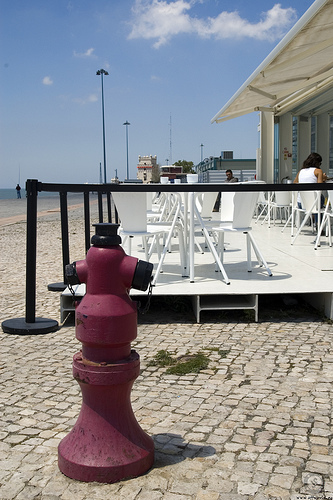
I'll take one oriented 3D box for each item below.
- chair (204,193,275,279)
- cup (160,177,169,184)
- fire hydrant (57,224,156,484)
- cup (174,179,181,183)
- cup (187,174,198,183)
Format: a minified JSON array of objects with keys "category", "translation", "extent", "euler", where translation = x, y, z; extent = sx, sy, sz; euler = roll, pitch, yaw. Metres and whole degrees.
[{"category":"chair","translation":[0.811,-0.201,5.486],"extent":[0.735,0.933,1.046],"euler":[-1,5,-6]},{"category":"cup","translation":[-0.062,-1.434,9.618],"extent":[0.132,0.095,0.132],"euler":[0,6,0]},{"category":"fire hydrant","translation":[-0.252,0.390,1.862],"extent":[0.400,0.982,0.307],"euler":[-2,5,-11]},{"category":"cup","translation":[0.218,-1.405,9.483],"extent":[0.115,0.072,0.114],"euler":[-1,6,0]},{"category":"cup","translation":[0.333,-0.950,6.171],"extent":[0.177,0.117,0.096],"euler":[-1,13,-3]}]
